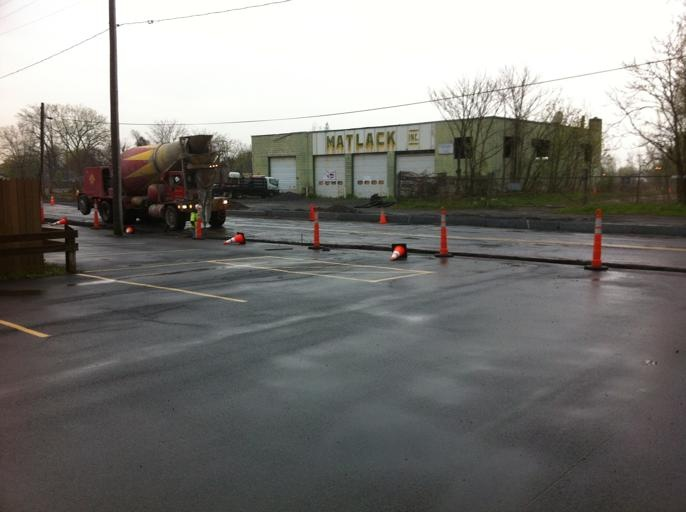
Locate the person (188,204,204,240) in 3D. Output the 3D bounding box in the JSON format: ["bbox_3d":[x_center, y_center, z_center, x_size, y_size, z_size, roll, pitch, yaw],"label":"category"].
[{"bbox_3d":[-5.761,-1.361,21.887,0.468,1.241,1.138,-3,9,-14],"label":"person"}]

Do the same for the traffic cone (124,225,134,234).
[{"bbox_3d":[-9.679,-1.228,24.974,0.360,0.218,0.398,4,25,4],"label":"traffic cone"}]

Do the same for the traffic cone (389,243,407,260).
[{"bbox_3d":[1.552,-0.117,15.647,0.391,0.332,0.493,4,10,21],"label":"traffic cone"}]

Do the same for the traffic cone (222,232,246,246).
[{"bbox_3d":[-3.776,-0.606,19.799,0.643,0.372,0.532,4,8,36],"label":"traffic cone"}]
